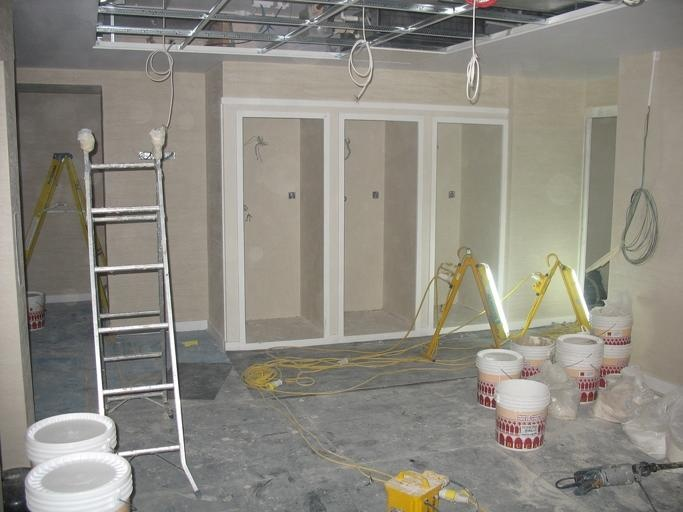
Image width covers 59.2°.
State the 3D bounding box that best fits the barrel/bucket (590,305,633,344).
[{"bbox_3d":[2.858,0.716,6.373,0.429,0.366,0.398,0,4,0],"label":"barrel/bucket"}]

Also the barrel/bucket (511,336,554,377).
[{"bbox_3d":[2.004,1.059,6.235,0.444,0.294,0.384,-1,8,3],"label":"barrel/bucket"}]
